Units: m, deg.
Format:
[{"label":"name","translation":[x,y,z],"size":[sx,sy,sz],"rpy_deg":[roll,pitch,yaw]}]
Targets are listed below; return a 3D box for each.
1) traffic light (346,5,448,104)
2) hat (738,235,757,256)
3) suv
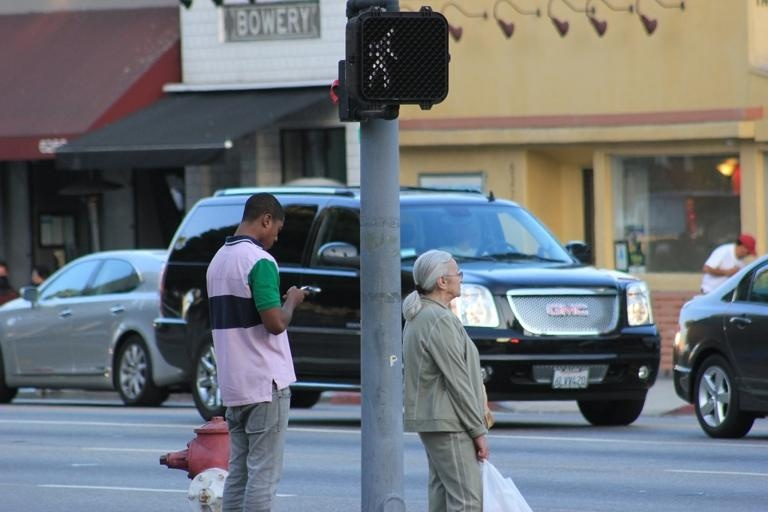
[{"label":"traffic light","translation":[0.177,-2.512,27.672],"size":[1.241,1.207,0.236],"rpy_deg":[1,4,7]},{"label":"hat","translation":[6.405,-0.164,38.138],"size":[0.307,0.349,0.430],"rpy_deg":[1,4,10]},{"label":"suv","translation":[0.205,0.927,33.871],"size":[6.961,3.090,3.644],"rpy_deg":[-4,-5,37]}]
